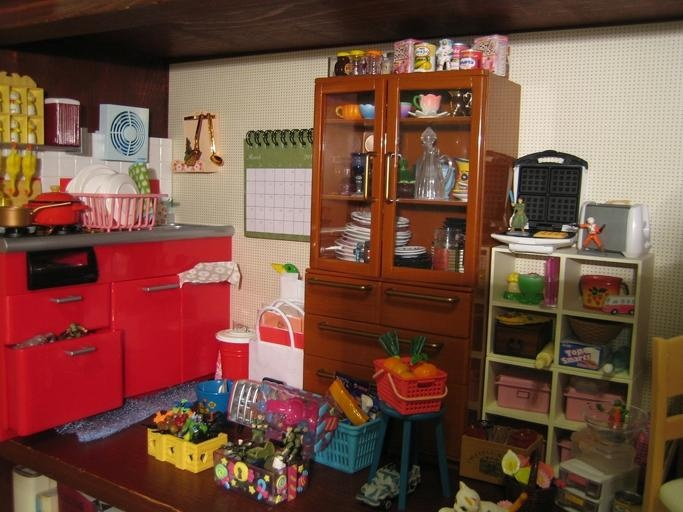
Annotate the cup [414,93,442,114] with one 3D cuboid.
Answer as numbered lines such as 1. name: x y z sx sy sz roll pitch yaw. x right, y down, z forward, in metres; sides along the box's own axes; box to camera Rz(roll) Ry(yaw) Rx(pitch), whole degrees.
1. cup: 0.445 -0.782 2.788 0.129 0.076 0.096 0 8 6

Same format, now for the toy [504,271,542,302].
1. toy: 0.954 0.159 2.855 0.159 0.117 0.174 0 2 -6

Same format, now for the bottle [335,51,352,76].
1. bottle: 0.001 -1.079 3.042 0.110 0.119 0.136 2 4 10

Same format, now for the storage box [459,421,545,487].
1. storage box: 0.747 0.945 2.652 0.353 0.185 0.327 2 2 32

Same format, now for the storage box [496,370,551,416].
1. storage box: 0.941 0.710 2.821 0.294 0.160 0.185 3 5 29

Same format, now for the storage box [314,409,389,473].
1. storage box: 0.062 0.959 2.839 0.258 0.193 0.347 0 -1 41

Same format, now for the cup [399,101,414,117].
1. cup: 0.331 -0.777 2.854 0.079 0.063 0.071 0 8 -9

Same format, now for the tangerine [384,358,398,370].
1. tangerine: 0.227 0.496 2.533 0.059 0.042 0.046 -5 -3 -6

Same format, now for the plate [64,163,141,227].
1. plate: -1.445 -0.382 3.331 0.117 0.387 0.434 -7 -9 35

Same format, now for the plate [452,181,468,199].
1. plate: 0.604 -0.331 2.747 0.087 0.053 0.074 1 3 30

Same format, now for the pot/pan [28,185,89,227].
1. pot/pan: -1.654 -0.286 3.124 0.390 0.164 0.229 -2 14 -25

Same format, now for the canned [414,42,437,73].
1. canned: 0.435 -1.047 2.848 0.116 0.164 0.082 2 9 5

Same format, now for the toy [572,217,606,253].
1. toy: 1.230 -0.103 2.687 0.199 0.193 0.080 2 7 35

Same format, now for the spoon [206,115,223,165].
1. spoon: -0.929 -0.847 3.967 0.133 0.379 0.038 8 12 37

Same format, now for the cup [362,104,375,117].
1. cup: 0.138 -0.782 2.938 0.084 0.056 0.078 0 11 0

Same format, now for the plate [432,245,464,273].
1. plate: 0.545 0.015 2.798 0.141 0.120 0.136 4 5 43

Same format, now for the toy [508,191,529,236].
1. toy: 0.945 -0.226 2.876 0.095 0.184 0.250 4 9 17

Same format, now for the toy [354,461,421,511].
1. toy: 0.218 1.073 2.559 0.149 0.074 0.228 2 3 39

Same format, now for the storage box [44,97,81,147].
1. storage box: -1.798 -0.853 3.471 0.211 0.305 0.097 -3 10 -24

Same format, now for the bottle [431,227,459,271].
1. bottle: 0.549 -0.030 2.879 0.155 0.220 0.161 4 4 0

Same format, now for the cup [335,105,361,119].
1. cup: 0.031 -0.793 3.016 0.130 0.055 0.079 3 6 39
